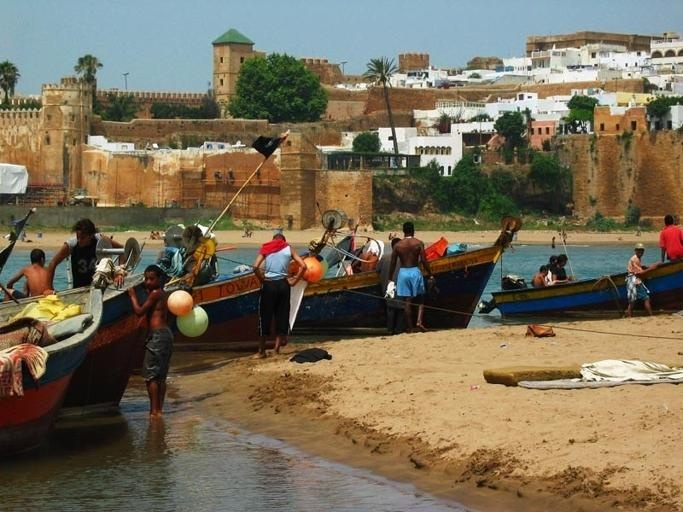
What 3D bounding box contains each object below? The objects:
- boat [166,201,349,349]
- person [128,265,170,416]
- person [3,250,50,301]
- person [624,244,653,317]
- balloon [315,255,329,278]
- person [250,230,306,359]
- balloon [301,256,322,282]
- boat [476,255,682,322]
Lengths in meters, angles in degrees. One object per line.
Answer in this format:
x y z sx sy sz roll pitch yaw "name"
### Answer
-1.429 0.695 17.551 3.497 1.244 1.150 -17 -9 41 "boat"
-2.107 0.973 13.586 0.424 1.789 0.667 -9 12 -10 "person"
-5.050 0.316 19.153 0.889 0.735 0.655 1 16 -23 "person"
4.508 0.361 18.461 0.392 1.156 1.453 -4 12 14 "person"
-0.279 0.163 18.502 0.258 0.269 0.197 27 -15 -28 "balloon"
-0.829 0.501 15.502 0.725 1.757 1.340 -8 12 -5 "person"
-0.434 0.188 16.420 0.251 0.240 0.288 -13 -28 -22 "balloon"
3.818 0.593 19.893 0.901 0.640 3.818 -2 -3 -36 "boat"
